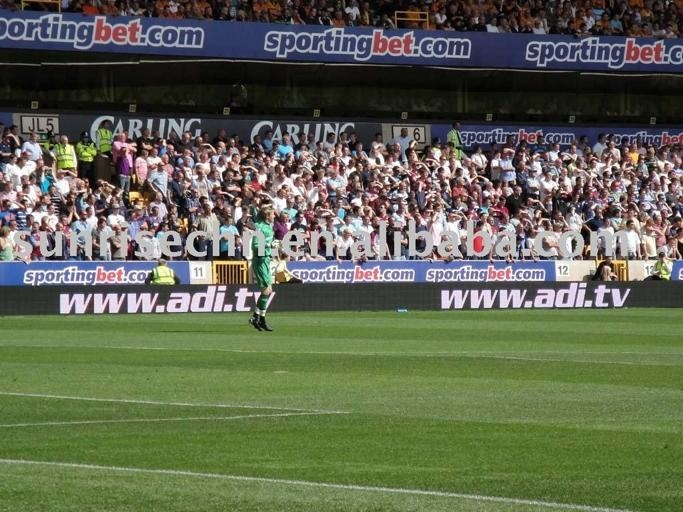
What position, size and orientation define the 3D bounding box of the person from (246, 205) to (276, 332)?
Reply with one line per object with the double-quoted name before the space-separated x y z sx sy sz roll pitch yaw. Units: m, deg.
"person" -1.814 0.346 39.436 0.524 2.912 1.264 2 0 -2
